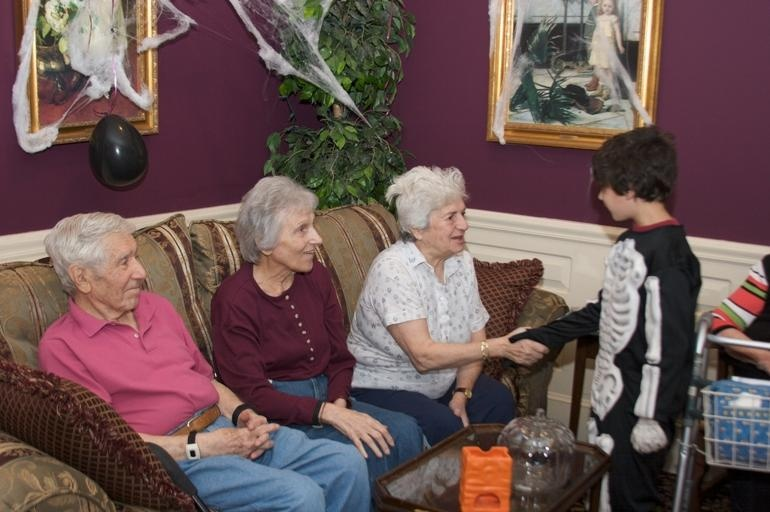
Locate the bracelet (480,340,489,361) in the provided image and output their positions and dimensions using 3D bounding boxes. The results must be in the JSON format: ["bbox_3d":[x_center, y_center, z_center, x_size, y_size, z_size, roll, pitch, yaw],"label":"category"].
[{"bbox_3d":[0.470,0.429,2.720,0.013,0.066,0.062,-2,22,18],"label":"bracelet"}]

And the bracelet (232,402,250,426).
[{"bbox_3d":[-0.611,0.686,2.475,0.051,0.093,0.085,3,-13,-14],"label":"bracelet"}]

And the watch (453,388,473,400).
[{"bbox_3d":[0.390,0.690,2.920,0.072,0.056,0.083,4,-32,24],"label":"watch"}]
